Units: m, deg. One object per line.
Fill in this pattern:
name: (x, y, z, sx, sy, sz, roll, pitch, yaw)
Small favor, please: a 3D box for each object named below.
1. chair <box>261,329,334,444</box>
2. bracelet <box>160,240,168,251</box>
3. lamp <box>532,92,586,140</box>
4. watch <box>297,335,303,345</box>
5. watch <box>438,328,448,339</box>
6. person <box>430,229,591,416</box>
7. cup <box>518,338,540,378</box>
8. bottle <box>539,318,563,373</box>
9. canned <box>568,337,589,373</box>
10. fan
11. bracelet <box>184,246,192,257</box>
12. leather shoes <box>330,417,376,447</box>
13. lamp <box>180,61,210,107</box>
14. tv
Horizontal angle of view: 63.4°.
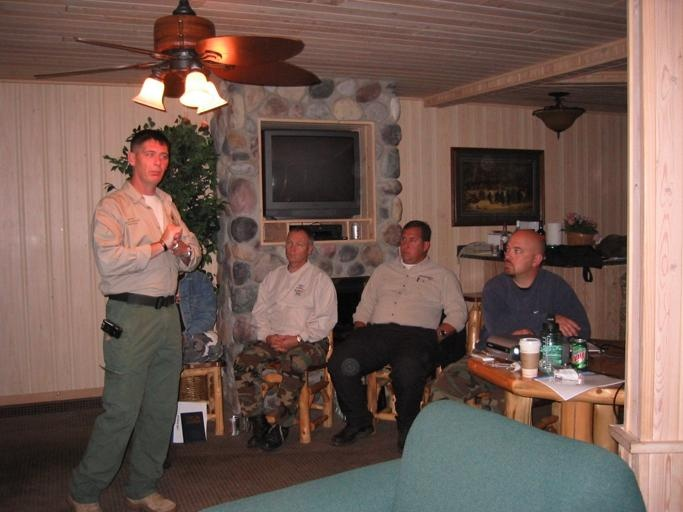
chair: (-0.336, 0.972, 4.129, 0.647, 0.664, 0.279, 3, 12, 15)
bracelet: (-1.013, -0.057, 3.182, 0.015, 0.049, 0.055, -27, -18, 16)
lamp: (2.192, -1.418, 5.658, 0.501, 0.389, 0.475, 0, -2, 2)
watch: (-0.321, 0.629, 4.162, 0.023, 0.034, 0.044, -5, -16, -47)
watch: (0.744, 0.600, 4.128, 0.082, 0.077, 0.052, 1, -7, -13)
person: (1.059, 0.337, 3.312, 0.933, 1.000, 0.837, 10, -10, -28)
cup: (0.927, 0.496, 2.730, 0.102, 0.182, 0.152, 1, 6, 18)
bottle: (1.054, 0.450, 2.771, 0.105, 0.261, 0.156, 2, 7, 28)
canned: (1.161, 0.489, 2.725, 0.077, 0.142, 0.114, 2, 7, 27)
fan: (-0.751, -1.127, 3.013, 1.248, 0.425, 0.879, -3, 6, -23)
bracelet: (-0.930, -0.020, 3.381, 0.015, 0.053, 0.053, -24, 22, 39)
leather shoes: (0.085, 1.301, 4.134, 0.362, 0.141, 0.138, -6, 2, -27)
lamp: (-0.729, -0.897, 2.918, 0.199, 0.198, 0.184, 0, -1, 16)
tv: (-0.325, -0.750, 5.044, 0.926, 0.706, 0.467, -1, 7, -15)
